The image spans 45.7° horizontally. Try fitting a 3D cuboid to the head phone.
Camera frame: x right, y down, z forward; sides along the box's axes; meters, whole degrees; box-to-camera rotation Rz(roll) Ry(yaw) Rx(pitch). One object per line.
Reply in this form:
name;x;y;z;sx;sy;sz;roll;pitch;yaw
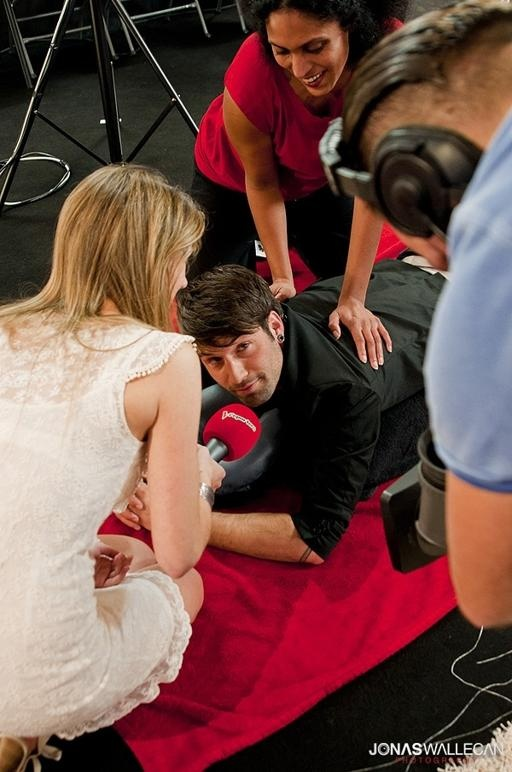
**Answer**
head phone;0.120;-0.216;0.607;0.161;0.065;0.122;30;53;16
